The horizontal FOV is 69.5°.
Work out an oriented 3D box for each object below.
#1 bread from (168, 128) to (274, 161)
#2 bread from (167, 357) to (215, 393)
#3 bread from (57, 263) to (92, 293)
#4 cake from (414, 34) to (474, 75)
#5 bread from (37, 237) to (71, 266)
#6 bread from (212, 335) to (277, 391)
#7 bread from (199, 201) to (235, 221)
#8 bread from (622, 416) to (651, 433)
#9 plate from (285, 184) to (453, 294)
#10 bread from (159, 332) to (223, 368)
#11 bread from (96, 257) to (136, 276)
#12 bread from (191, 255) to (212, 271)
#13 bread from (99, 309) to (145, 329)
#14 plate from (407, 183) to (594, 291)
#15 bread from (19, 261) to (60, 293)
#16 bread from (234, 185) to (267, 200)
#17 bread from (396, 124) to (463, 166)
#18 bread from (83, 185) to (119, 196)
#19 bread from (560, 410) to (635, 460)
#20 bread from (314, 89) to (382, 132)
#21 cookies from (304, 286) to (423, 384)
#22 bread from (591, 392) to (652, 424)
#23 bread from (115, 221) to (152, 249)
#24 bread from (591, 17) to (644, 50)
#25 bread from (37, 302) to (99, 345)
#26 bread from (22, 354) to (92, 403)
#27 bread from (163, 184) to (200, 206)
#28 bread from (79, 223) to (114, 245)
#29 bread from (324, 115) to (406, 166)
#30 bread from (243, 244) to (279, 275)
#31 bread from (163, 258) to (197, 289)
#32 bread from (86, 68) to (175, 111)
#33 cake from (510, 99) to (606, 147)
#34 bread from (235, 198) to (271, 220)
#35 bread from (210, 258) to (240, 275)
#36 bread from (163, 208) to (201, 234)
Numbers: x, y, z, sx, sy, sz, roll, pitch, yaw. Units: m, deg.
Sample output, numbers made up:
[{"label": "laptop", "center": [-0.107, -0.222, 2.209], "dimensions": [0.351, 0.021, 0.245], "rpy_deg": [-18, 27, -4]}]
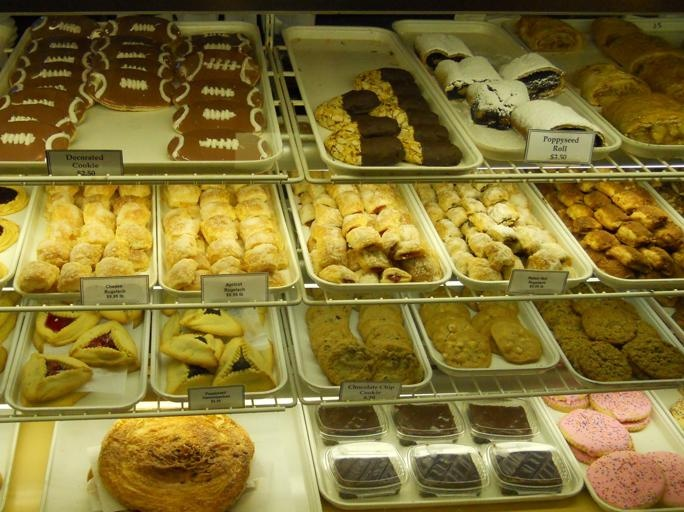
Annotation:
[{"label": "bread", "center": [-0.375, -0.343, 1.559], "dimensions": [0.309, 0.117, 0.050], "rpy_deg": [0, -49, -4]}, {"label": "bread", "center": [-0.577, 0.471, 1.883], "dimensions": [0.178, 0.043, 0.172], "rpy_deg": [-5, 11, -21]}, {"label": "bread", "center": [-0.920, 0.067, 1.699], "dimensions": [0.109, 0.111, 0.122], "rpy_deg": [-3, -10, -25]}, {"label": "cake", "center": [0.423, -0.893, 2.114], "dimensions": [0.255, 0.198, 0.076], "rpy_deg": [1, -54, -10]}, {"label": "bread", "center": [-1.038, -0.009, 1.782], "dimensions": [0.105, 0.101, 0.039], "rpy_deg": [-3, -12, -26]}, {"label": "bread", "center": [-0.399, 0.428, 1.942], "dimensions": [0.293, 0.087, 0.283], "rpy_deg": [4, 25, -13]}, {"label": "bread", "center": [-0.498, -0.179, 1.955], "dimensions": [0.095, 0.026, 0.094], "rpy_deg": [0, 25, -9]}, {"label": "bread", "center": [1.437, 0.821, 2.409], "dimensions": [0.106, 0.019, 0.089], "rpy_deg": [-5, 13, 9]}, {"label": "plate", "center": [0.103, -0.099, 1.993], "dimensions": [0.580, 0.527, 0.322], "rpy_deg": [-6, -10, -7]}, {"label": "bread", "center": [-0.579, 0.363, 1.900], "dimensions": [0.202, 0.139, 0.056], "rpy_deg": [12, -52, -4]}, {"label": "bread", "center": [-0.800, 0.037, 1.740], "dimensions": [0.128, 0.078, 0.110], "rpy_deg": [-3, -10, -20]}, {"label": "bread", "center": [-0.517, 0.022, 1.813], "dimensions": [0.058, 0.058, 0.018], "rpy_deg": [-4, -47, -38]}, {"label": "bread", "center": [-0.887, 0.247, 1.998], "dimensions": [0.164, 0.104, 0.040], "rpy_deg": [12, -58, 3]}, {"label": "plate", "center": [0.619, -0.181, 2.015], "dimensions": [0.489, 0.615, 0.080], "rpy_deg": [-6, -48, -14]}, {"label": "bread", "center": [-1.042, 0.067, 1.701], "dimensions": [0.148, 0.106, 0.069], "rpy_deg": [3, -25, -7]}, {"label": "bread", "center": [-0.387, -0.262, 2.040], "dimensions": [0.108, 0.084, 0.029], "rpy_deg": [-6, -49, -12]}, {"label": "bread", "center": [0.301, -0.387, 1.717], "dimensions": [0.190, 0.206, 0.138], "rpy_deg": [-9, -10, 7]}, {"label": "bread", "center": [-0.970, -0.260, 1.986], "dimensions": [0.120, 0.095, 0.023], "rpy_deg": [1, -59, -7]}, {"label": "bread", "center": [1.182, 0.836, 2.348], "dimensions": [0.245, 0.229, 0.065], "rpy_deg": [-18, -47, -43]}, {"label": "bread", "center": [0.005, -0.541, 1.853], "dimensions": [0.280, 0.132, 0.048], "rpy_deg": [-19, -30, -15]}, {"label": "cookies", "center": [0.084, 0.361, 2.042], "dimensions": [0.431, 0.344, 0.270], "rpy_deg": [-6, -10, -4]}, {"label": "bread", "center": [1.375, 0.761, 2.459], "dimensions": [0.251, 0.046, 0.213], "rpy_deg": [0, 24, 8]}, {"label": "bread", "center": [-0.799, -0.080, 1.867], "dimensions": [0.109, 0.122, 0.034], "rpy_deg": [-45, -8, -44]}, {"label": "bread", "center": [1.226, -1.040, 2.262], "dimensions": [0.223, 0.186, 0.092], "rpy_deg": [-7, -49, -7]}, {"label": "bread", "center": [-1.071, 0.270, 1.972], "dimensions": [0.192, 0.050, 0.199], "rpy_deg": [24, 37, 24]}, {"label": "bread", "center": [-1.036, 0.438, 1.792], "dimensions": [0.231, 0.179, 0.100], "rpy_deg": [-5, -11, -14]}, {"label": "bread", "center": [-0.647, -0.248, 1.995], "dimensions": [0.125, 0.101, 0.028], "rpy_deg": [3, -57, -6]}, {"label": "bread", "center": [-0.918, -0.085, 1.862], "dimensions": [0.118, 0.085, 0.028], "rpy_deg": [-6, -42, -20]}, {"label": "bread", "center": [0.069, -0.395, 1.695], "dimensions": [0.263, 0.181, 0.055], "rpy_deg": [1, -40, -3]}, {"label": "bread", "center": [-0.296, 0.005, 1.799], "dimensions": [0.125, 0.111, 0.056], "rpy_deg": [-6, -11, -8]}, {"label": "bread", "center": [-0.567, 0.060, 1.754], "dimensions": [0.112, 0.117, 0.053], "rpy_deg": [-5, -11, -16]}, {"label": "bread", "center": [-0.728, -0.573, 1.744], "dimensions": [0.297, 0.153, 0.057], "rpy_deg": [0, -37, -13]}, {"label": "cake", "center": [0.740, -0.488, 1.743], "dimensions": [0.240, 0.070, 0.240], "rpy_deg": [11, 21, -19]}, {"label": "bread", "center": [-0.361, -0.189, 1.987], "dimensions": [0.119, 0.033, 0.103], "rpy_deg": [2, 19, 2]}, {"label": "bread", "center": [-0.422, 0.036, 1.758], "dimensions": [0.086, 0.069, 0.021], "rpy_deg": [-6, -55, -18]}, {"label": "bread", "center": [-0.628, -0.135, 1.919], "dimensions": [0.135, 0.115, 0.032], "rpy_deg": [20, -48, 10]}]
